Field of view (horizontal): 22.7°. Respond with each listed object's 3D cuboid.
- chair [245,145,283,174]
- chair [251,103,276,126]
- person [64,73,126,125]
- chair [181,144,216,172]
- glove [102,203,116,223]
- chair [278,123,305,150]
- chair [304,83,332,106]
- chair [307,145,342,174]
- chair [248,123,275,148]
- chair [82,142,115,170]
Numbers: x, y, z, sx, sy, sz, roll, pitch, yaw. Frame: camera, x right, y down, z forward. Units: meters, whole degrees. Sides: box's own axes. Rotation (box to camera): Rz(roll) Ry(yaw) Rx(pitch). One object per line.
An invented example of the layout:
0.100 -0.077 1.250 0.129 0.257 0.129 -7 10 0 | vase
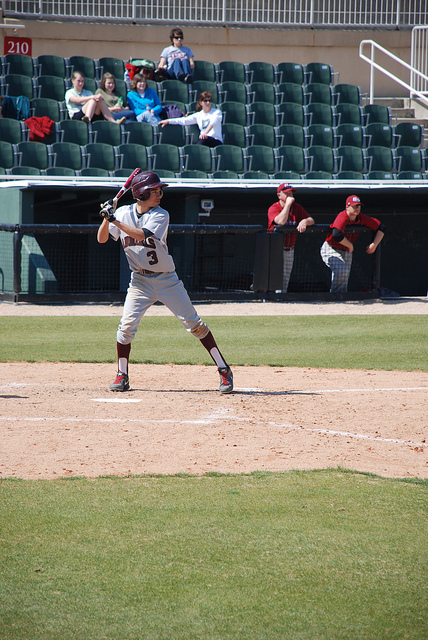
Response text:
0.749 -2.454 16.250 0.577 0.464 0.471 -1 4 -18 | chair
0.795 -3.353 17.521 0.448 0.429 0.394 -1 7 -8 | chair
-1.869 -3.222 15.775 1.101 0.795 0.571 11 20 43 | person
-0.217 -2.396 15.925 0.428 0.532 0.399 -1 4 -18 | chair
-0.660 -0.678 6.767 0.088 0.107 0.098 5 10 -12 | glove
1.252 -2.956 17.156 0.434 0.532 0.444 -1 5 -9 | chair
1.803 -3.875 18.237 0.433 0.396 0.368 -2 4 -9 | chair
1.750 -2.532 16.924 0.451 0.552 0.497 -1 4 -14 | chair
0.755 -2.906 16.828 0.401 0.371 0.348 -1 7 -9 | chair
-1.628 -2.351 15.235 0.366 0.445 0.410 -1 5 -13 | chair
